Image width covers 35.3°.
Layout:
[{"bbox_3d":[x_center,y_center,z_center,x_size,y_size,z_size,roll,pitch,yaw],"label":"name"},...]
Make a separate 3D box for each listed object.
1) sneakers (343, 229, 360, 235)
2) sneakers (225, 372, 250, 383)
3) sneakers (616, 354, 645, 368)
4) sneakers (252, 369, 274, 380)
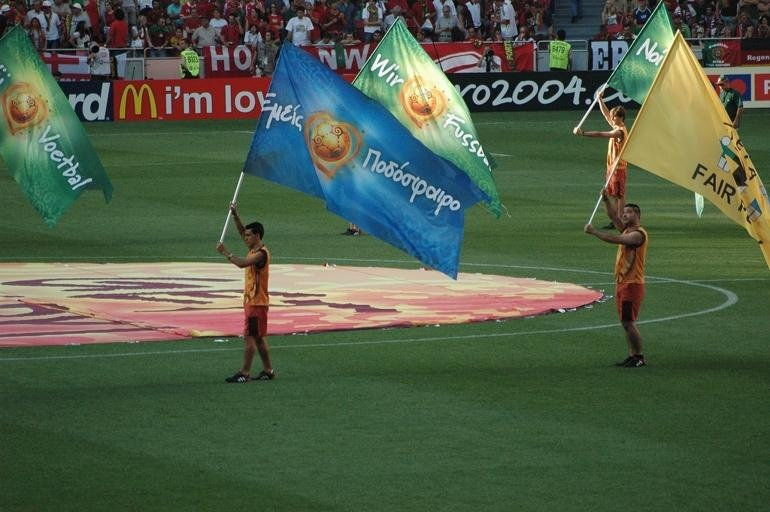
[{"bbox_3d":[-0.706,-0.522,25.751,0.180,0.087,0.244,-4,6,-40],"label":"sneakers"},{"bbox_3d":[-1.836,1.549,15.397,0.355,0.144,0.120,1,2,4],"label":"sneakers"},{"bbox_3d":[3.235,1.383,15.968,0.340,0.126,0.170,3,6,-6],"label":"sneakers"},{"bbox_3d":[-1.571,1.523,15.482,0.335,0.121,0.104,0,5,1],"label":"sneakers"}]
